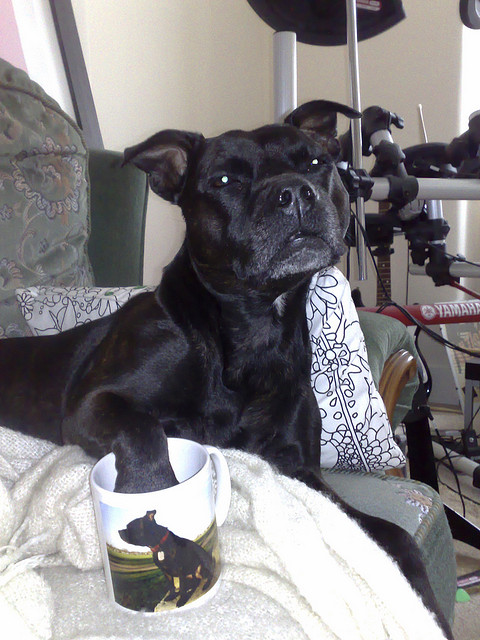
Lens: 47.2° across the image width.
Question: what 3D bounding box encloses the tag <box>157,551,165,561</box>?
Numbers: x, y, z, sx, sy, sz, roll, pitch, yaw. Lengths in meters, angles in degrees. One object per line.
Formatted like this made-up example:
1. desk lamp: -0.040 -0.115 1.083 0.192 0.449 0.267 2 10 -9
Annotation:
1. tag: -0.074 0.223 0.521 0.006 0.008 0.002 1 -7 -11

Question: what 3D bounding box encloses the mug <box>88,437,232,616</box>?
1. mug: -0.070 0.215 0.599 0.132 0.134 0.180 6 12 44
